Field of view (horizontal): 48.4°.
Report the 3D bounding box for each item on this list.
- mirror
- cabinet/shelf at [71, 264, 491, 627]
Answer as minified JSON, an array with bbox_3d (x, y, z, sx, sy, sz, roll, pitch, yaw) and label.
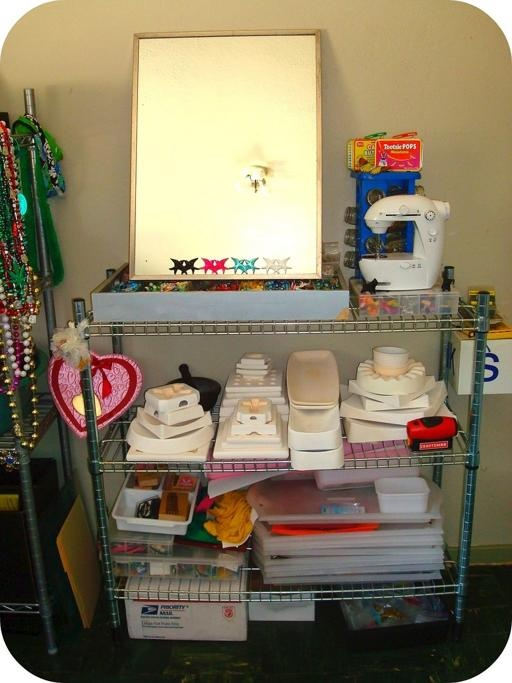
[{"bbox_3d":[-0.056,-0.420,1.309,0.616,0.745,0.028,0,6,5],"label":"mirror"},{"bbox_3d":[0.058,0.264,1.410,1.073,0.973,0.358,-2,43,1],"label":"cabinet/shelf"}]
